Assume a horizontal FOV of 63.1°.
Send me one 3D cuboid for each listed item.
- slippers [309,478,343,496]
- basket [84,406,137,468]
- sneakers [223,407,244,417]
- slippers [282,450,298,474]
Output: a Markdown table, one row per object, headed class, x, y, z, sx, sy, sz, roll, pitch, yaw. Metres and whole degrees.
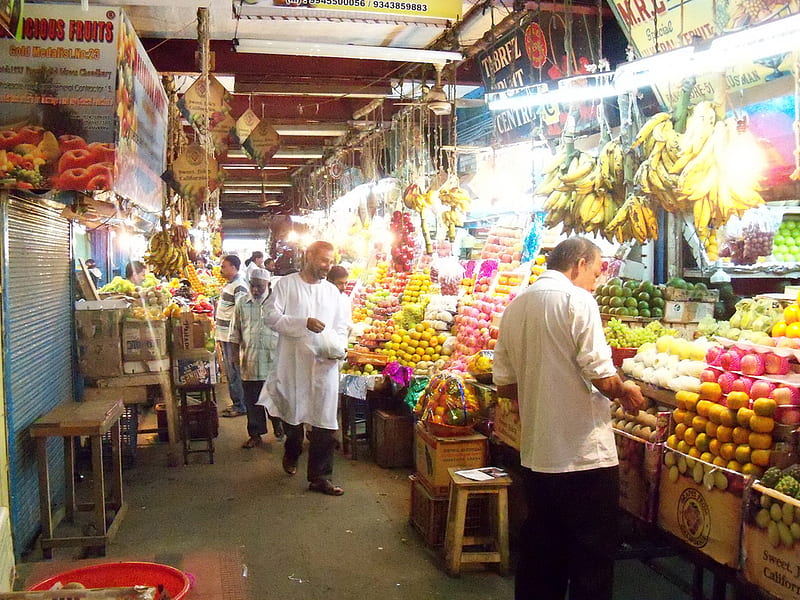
| class | x | y | z | sx | sy | sz | roll | pitch | yaw |
| --- | --- | --- | --- | --- | --- | --- | --- | --- | --- |
| slippers | -0.618 | 1.583 | 5.515 | 0.289 | 0.123 | 0.112 | 0 | -2 | 18 |
| basket | -2.692 | 1.277 | 6.191 | 0.410 | 0.566 | 0.460 | -1 | 12 | -15 |
| sneakers | -2.092 | 1.419 | 8.169 | 0.219 | 0.095 | 0.135 | 7 | -5 | -16 |
| slippers | -0.987 | 1.497 | 5.879 | 0.084 | 0.193 | 0.257 | 2 | -4 | -19 |
